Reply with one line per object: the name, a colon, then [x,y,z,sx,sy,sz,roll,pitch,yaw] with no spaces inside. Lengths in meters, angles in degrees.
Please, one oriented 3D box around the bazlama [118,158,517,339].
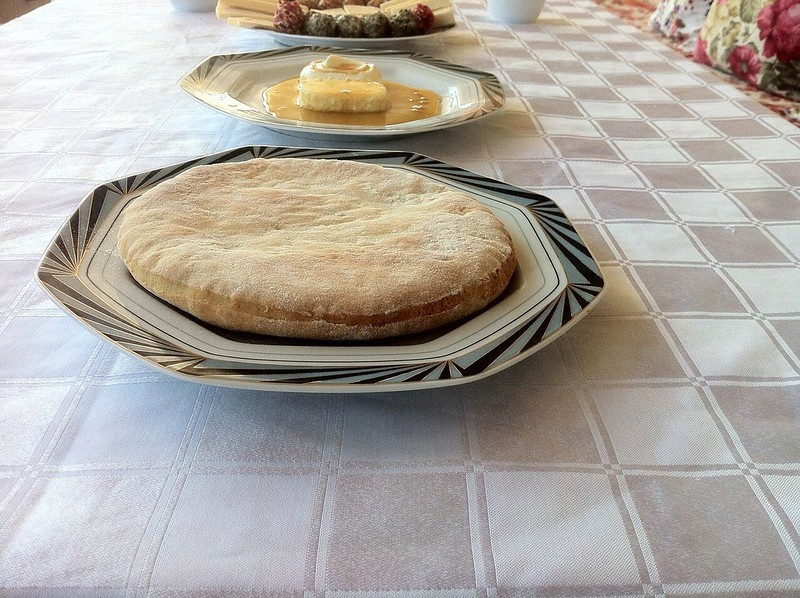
bazlama: [-0.071,-0.024,0.482,0.279,0.027,0.163,8,29,9]
